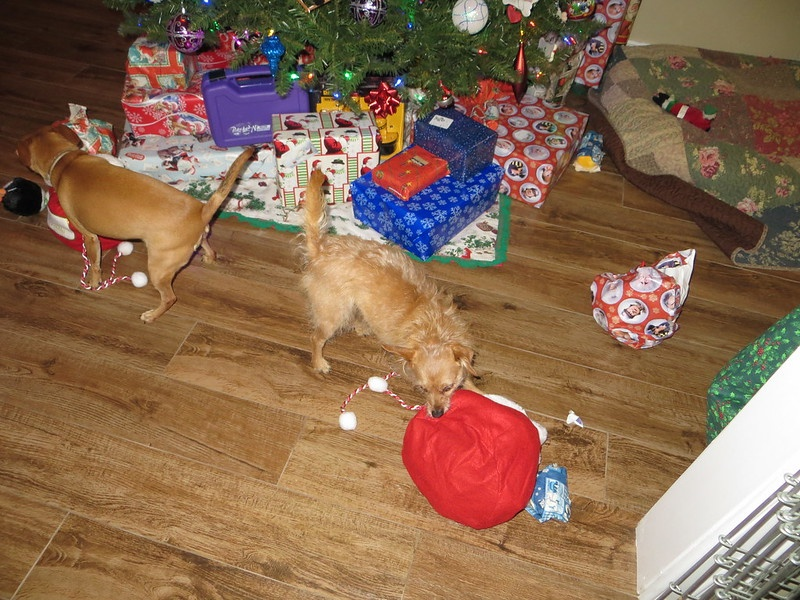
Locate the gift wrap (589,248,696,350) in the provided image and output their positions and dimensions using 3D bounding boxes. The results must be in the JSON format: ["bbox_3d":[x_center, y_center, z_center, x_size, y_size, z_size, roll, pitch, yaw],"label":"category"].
[{"bbox_3d":[1.472,-0.025,4.160,0.510,0.544,0.448,8,48,0],"label":"gift wrap"}]

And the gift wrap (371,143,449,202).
[{"bbox_3d":[0.055,-0.853,4.516,0.459,0.110,0.343,-32,55,-28],"label":"gift wrap"}]

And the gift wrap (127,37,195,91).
[{"bbox_3d":[-1.734,-1.678,5.033,0.466,0.271,0.440,30,37,19],"label":"gift wrap"}]

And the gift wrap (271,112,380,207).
[{"bbox_3d":[-0.477,-0.953,4.554,0.961,0.637,0.419,-2,45,-9],"label":"gift wrap"}]

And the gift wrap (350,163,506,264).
[{"bbox_3d":[0.133,-0.634,4.538,0.946,0.303,0.731,-36,56,-28],"label":"gift wrap"}]

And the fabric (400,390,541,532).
[{"bbox_3d":[0.399,0.820,3.625,0.614,0.408,0.699,-23,53,-26],"label":"fabric"}]

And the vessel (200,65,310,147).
[{"bbox_3d":[-1.066,-1.371,4.950,0.729,0.448,0.240,-20,39,-35],"label":"vessel"}]

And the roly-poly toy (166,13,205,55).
[{"bbox_3d":[-1.259,-1.584,4.127,0.244,0.182,0.160,-4,63,23],"label":"roly-poly toy"}]

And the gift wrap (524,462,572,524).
[{"bbox_3d":[0.790,1.032,3.601,0.259,0.086,0.273,29,73,15],"label":"gift wrap"}]
